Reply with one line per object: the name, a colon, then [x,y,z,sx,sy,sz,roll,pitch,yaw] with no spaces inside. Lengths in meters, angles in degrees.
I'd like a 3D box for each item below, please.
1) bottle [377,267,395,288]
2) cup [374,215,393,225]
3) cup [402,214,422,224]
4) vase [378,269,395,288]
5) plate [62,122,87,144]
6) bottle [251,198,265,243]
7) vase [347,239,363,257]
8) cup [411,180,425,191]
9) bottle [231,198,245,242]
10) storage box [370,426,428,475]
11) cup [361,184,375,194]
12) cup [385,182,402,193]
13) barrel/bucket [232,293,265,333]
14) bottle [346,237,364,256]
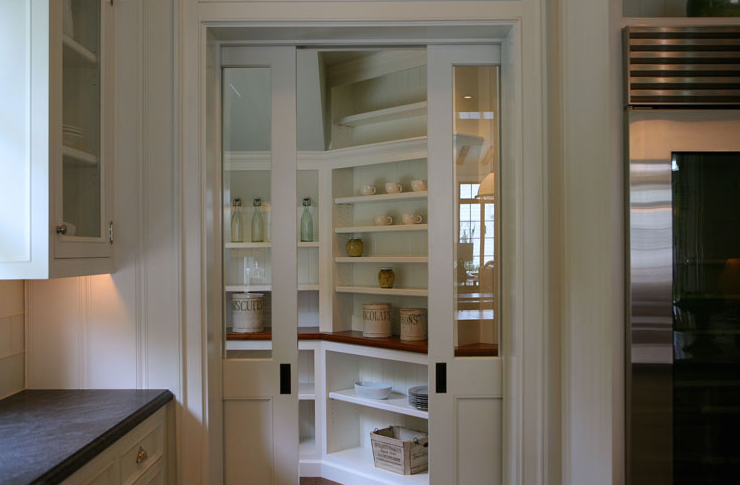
bottle: [0.106,0.221,4.261,0.108,0.138,0.115,0,-8,0]
cup: [0.084,-0.149,4.325,0.090,0.062,0.059,2,-5,-19]
cup: [0.271,-0.148,4.191,0.088,0.049,0.067,2,-4,0]
vase: [0.103,0.233,4.328,0.109,0.136,0.115,0,-8,2]
plate: [-1.192,-0.441,2.632,0.016,0.070,0.072,1,2,16]
bottle: [-0.540,-0.112,3.124,0.068,0.209,0.042,0,-1,-26]
vase: [-0.106,0.035,4.463,0.109,0.130,0.111,-2,-2,10]
cup: [0.297,-0.358,4.113,0.069,0.052,0.064,-1,-4,0]
bottle: [-0.631,-0.108,3.114,0.070,0.216,0.046,-1,-1,14]
storage box: [0.197,1.295,4.071,0.353,0.186,0.222,-5,-9,43]
cup: [-0.015,-0.360,4.382,0.080,0.061,0.062,1,1,15]
cup: [0.154,-0.362,4.257,0.083,0.047,0.062,3,3,37]
barrel/bucket: [-0.587,0.336,3.218,0.170,0.192,0.172,0,-4,0]
bottle: [-0.103,0.032,4.399,0.112,0.132,0.113,-1,-1,25]
